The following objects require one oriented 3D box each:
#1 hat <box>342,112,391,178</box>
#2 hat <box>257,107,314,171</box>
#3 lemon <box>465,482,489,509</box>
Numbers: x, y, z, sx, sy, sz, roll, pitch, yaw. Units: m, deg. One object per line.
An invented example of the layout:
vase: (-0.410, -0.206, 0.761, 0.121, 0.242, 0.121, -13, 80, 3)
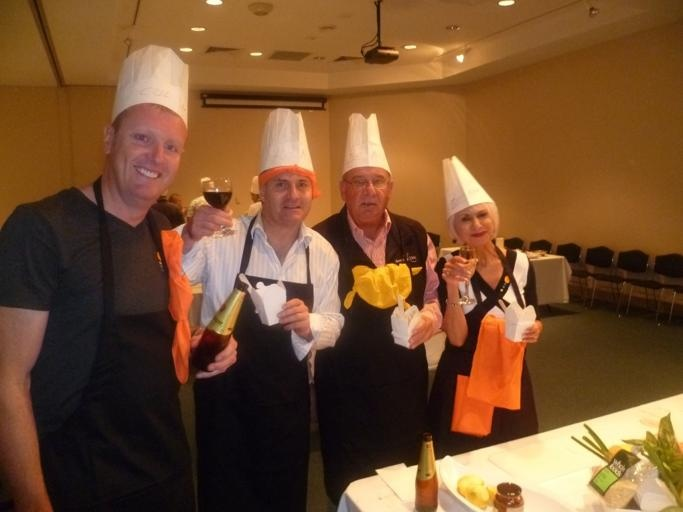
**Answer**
hat: (0.086, -0.593, 2.858, 0.288, 0.426, 0.300, 0, -12, -12)
hat: (-0.256, -0.534, 2.494, 0.273, 0.320, 0.264, 0, 0, 45)
lemon: (0.476, 0.835, 1.763, 0.059, 0.041, 0.068, 12, 9, -35)
